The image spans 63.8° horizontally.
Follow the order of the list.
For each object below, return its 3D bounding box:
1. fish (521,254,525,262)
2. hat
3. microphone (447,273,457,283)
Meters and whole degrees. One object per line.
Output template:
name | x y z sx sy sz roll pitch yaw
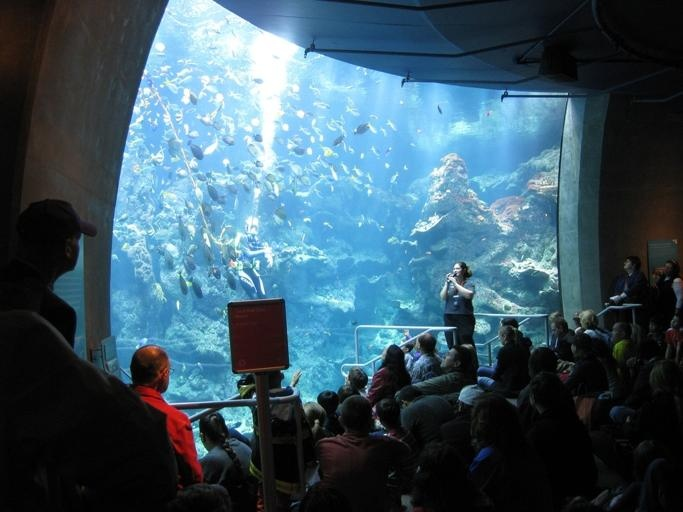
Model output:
fish | 13.617 0.135 41.415 0.365 0.354 0.090 9 10 41
hat | -1.453 -0.201 2.800 0.214 0.173 0.303 16 25 40
microphone | 1.537 0.300 7.669 0.085 0.174 0.094 5 -4 -16
